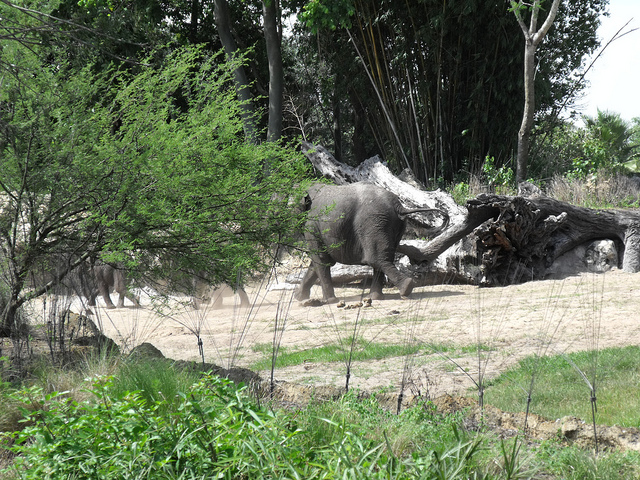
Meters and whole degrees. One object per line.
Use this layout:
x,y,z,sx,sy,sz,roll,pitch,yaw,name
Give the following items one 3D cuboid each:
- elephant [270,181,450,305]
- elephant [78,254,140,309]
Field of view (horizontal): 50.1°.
0.737,0.033,12.933,2.444,2.322,1.612,-1,0,12,elephant
-4.573,0.953,15.086,0.599,1.173,1.806,1,-9,-44,elephant
